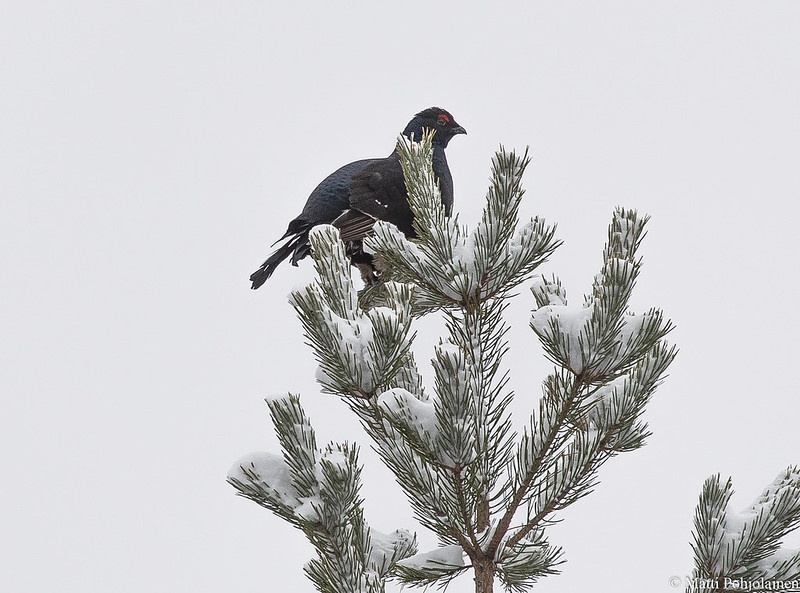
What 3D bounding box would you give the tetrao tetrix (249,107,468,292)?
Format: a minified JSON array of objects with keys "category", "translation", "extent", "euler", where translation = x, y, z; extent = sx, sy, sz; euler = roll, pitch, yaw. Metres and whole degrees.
[{"category":"tetrao tetrix","translation":[-0.204,-0.478,7.311],"extent":[1.257,0.941,0.629],"euler":[-9,-4,-11]}]
